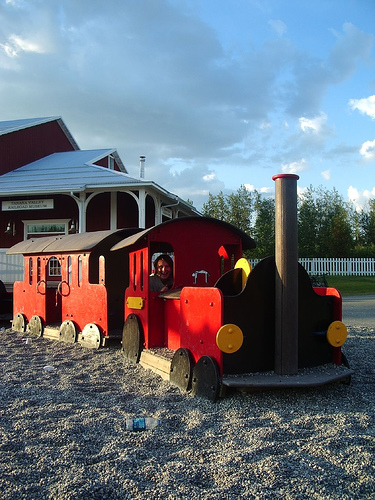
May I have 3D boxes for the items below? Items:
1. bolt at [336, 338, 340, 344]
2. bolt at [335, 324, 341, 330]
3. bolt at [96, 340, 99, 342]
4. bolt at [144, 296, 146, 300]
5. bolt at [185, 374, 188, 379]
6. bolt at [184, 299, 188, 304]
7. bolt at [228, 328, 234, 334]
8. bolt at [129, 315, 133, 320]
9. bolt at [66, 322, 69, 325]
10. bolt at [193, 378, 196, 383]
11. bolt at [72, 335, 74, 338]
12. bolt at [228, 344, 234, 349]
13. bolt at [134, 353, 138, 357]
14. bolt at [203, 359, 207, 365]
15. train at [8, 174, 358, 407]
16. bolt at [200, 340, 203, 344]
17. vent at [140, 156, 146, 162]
[{"bbox_3d":[1.393,0.833,4.730,0.033,0.049,0.011,0,-5,-14],"label":"bolt"},{"bbox_3d":[1.402,0.704,4.711,0.032,0.046,0.013,3,-12,-2],"label":"bolt"},{"bbox_3d":[-1.253,1.251,7.114,0.020,0.022,0.038,1,0,-6],"label":"bolt"},{"bbox_3d":[-0.486,0.541,5.823,0.024,0.026,0.022,-1,2,5],"label":"bolt"},{"bbox_3d":[-0.008,1.163,4.766,0.008,0.041,0.069,0,-1,-25],"label":"bolt"},{"bbox_3d":[-0.012,0.491,4.941,0.030,0.043,0.010,-2,-3,16],"label":"bolt"},{"bbox_3d":[0.362,0.676,4.317,0.039,0.042,0.010,2,-3,-10],"label":"bolt"},{"bbox_3d":[-0.674,0.795,6.111,0.009,0.037,0.036,2,-45,-37],"label":"bolt"},{"bbox_3d":[-1.841,1.117,7.838,0.025,0.046,0.034,5,-22,-15],"label":"bolt"},{"bbox_3d":[0.065,1.174,4.644,0.007,0.043,0.059,0,-1,-23],"label":"bolt"},{"bbox_3d":[-1.714,1.285,7.646,0.008,0.040,0.060,0,-1,-41],"label":"bolt"},{"bbox_3d":[0.365,0.804,4.317,0.034,0.036,0.008,4,-14,-12],"label":"bolt"},{"bbox_3d":[-0.596,1.215,5.947,0.032,0.045,0.023,-3,-5,35],"label":"bolt"},{"bbox_3d":[0.157,0.971,4.482,0.016,0.037,0.029,-11,-22,24],"label":"bolt"},{"bbox_3d":[-0.578,0.428,6.843,1.617,2.163,5.719,9,-7,-34],"label":"train"},{"bbox_3d":[0.127,0.827,4.634,0.002,0.036,0.046,0,-1,-27],"label":"bolt"},{"bbox_3d":[-1.803,-3.631,20.448,0.156,0.145,0.216,0,-1,-11],"label":"vent"}]
